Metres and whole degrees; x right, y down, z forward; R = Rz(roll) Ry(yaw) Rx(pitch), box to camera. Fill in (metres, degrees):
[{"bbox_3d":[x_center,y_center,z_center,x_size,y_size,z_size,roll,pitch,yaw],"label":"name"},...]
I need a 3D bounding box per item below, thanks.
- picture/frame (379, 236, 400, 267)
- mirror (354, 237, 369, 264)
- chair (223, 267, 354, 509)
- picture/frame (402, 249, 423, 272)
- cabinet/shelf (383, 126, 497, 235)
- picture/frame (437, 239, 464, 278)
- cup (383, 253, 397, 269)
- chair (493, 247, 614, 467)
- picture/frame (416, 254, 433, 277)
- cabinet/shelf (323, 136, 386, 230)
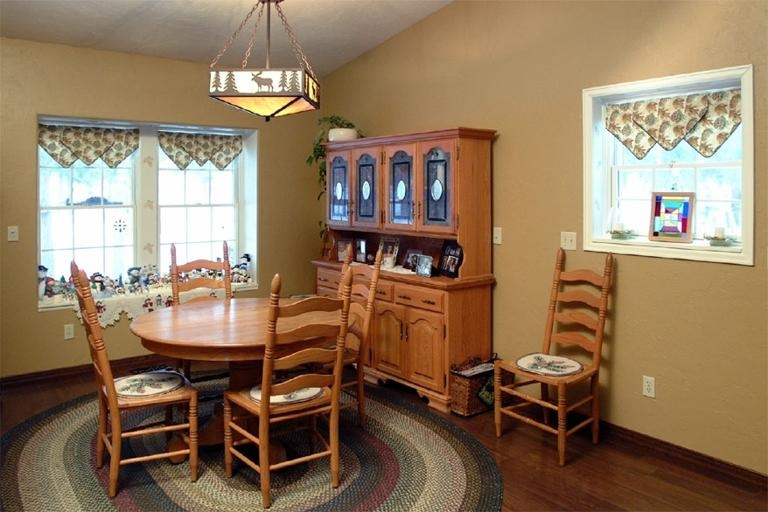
[{"bbox_3d":[0.061,-0.055,5.809,0.204,0.309,0.073,-5,-22,40],"label":"picture/frame"},{"bbox_3d":[-0.258,-0.053,6.147,0.036,0.345,0.258,-5,9,-33],"label":"mirror"},{"bbox_3d":[-0.731,0.885,4.104,0.985,1.611,0.997,-3,6,-13],"label":"chair"},{"bbox_3d":[0.297,0.046,5.555,0.078,0.212,0.234,6,-4,-25],"label":"picture/frame"},{"bbox_3d":[0.492,-0.666,5.395,0.540,1.015,1.165,-7,10,-36],"label":"cabinet/shelf"},{"bbox_3d":[0.644,0.029,5.235,0.244,0.329,0.079,3,-17,45],"label":"picture/frame"},{"bbox_3d":[0.046,0.053,5.679,0.155,0.144,0.100,1,2,-14],"label":"cup"},{"bbox_3d":[1.320,0.744,4.547,0.891,1.578,0.810,3,8,43],"label":"chair"},{"bbox_3d":[0.388,0.099,5.233,0.029,0.228,0.210,11,-11,-38],"label":"picture/frame"},{"bbox_3d":[-0.271,-0.755,5.938,0.268,0.939,0.988,-6,8,-43],"label":"cabinet/shelf"}]
